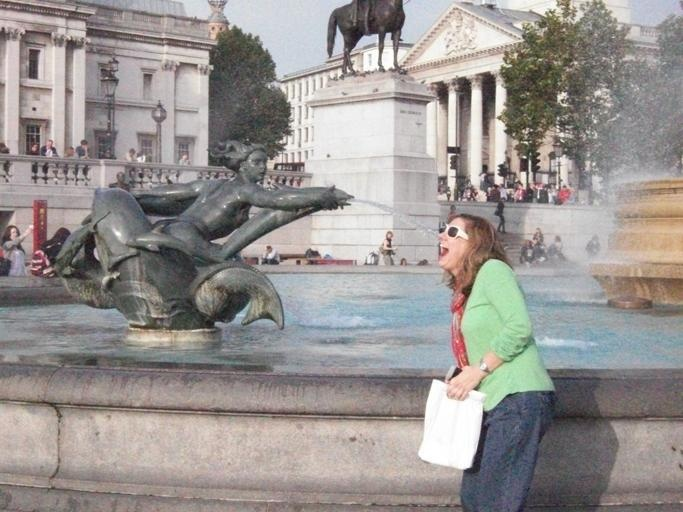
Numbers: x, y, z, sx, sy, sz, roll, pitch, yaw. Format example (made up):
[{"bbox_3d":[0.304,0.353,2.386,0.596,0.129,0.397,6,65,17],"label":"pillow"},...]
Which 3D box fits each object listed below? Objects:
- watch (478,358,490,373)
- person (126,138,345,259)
[{"bbox_3d":[1.197,0.925,11.221,0.056,0.088,0.088,-42,-9,-10],"label":"watch"},{"bbox_3d":[-1.127,-0.599,14.141,2.086,1.235,0.811,0,7,-1],"label":"person"}]
